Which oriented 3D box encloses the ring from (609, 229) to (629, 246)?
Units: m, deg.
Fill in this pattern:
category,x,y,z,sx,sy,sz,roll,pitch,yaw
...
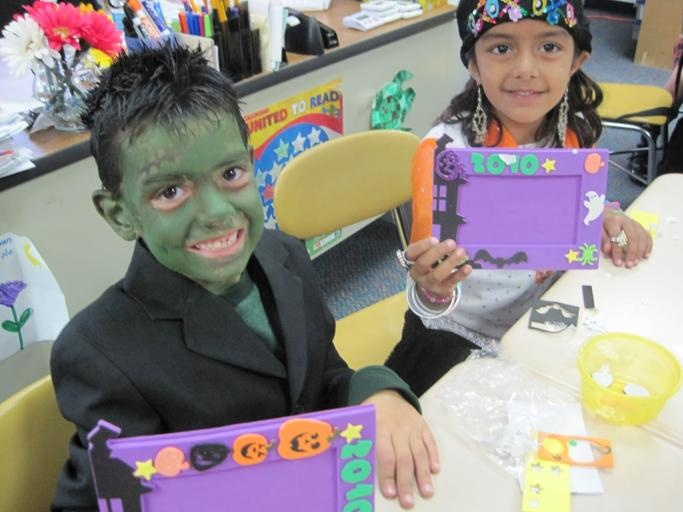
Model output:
category,x,y,z,sx,sy,sz,roll,pitch,yaw
ring,0.719,-0.043,1.327,0.034,0.011,0.037,-3,51,4
